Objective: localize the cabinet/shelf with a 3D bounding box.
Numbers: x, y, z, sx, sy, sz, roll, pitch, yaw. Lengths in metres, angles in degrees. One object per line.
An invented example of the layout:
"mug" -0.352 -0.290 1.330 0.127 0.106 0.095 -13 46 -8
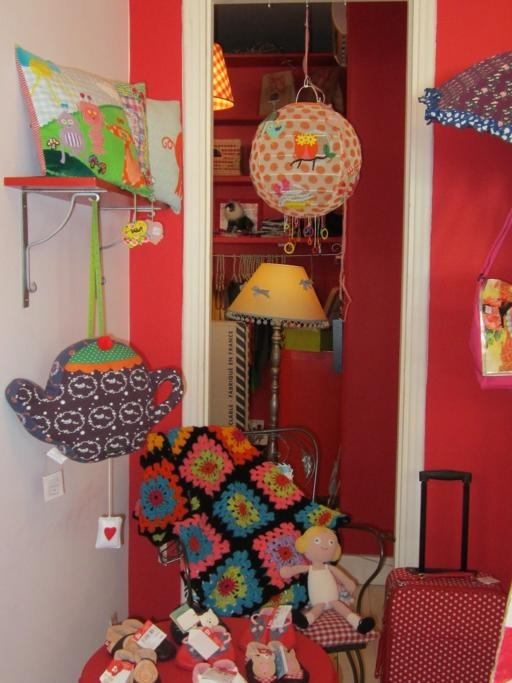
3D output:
"cabinet/shelf" 0.142 -1.282 4.190 0.855 1.252 0.804 0 6 -1

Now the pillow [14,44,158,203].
"pillow" -0.399 -0.496 1.508 0.093 0.251 0.391 -2 8 31

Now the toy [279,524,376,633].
"toy" 0.194 0.672 1.838 0.245 0.249 0.216 0 6 -3
